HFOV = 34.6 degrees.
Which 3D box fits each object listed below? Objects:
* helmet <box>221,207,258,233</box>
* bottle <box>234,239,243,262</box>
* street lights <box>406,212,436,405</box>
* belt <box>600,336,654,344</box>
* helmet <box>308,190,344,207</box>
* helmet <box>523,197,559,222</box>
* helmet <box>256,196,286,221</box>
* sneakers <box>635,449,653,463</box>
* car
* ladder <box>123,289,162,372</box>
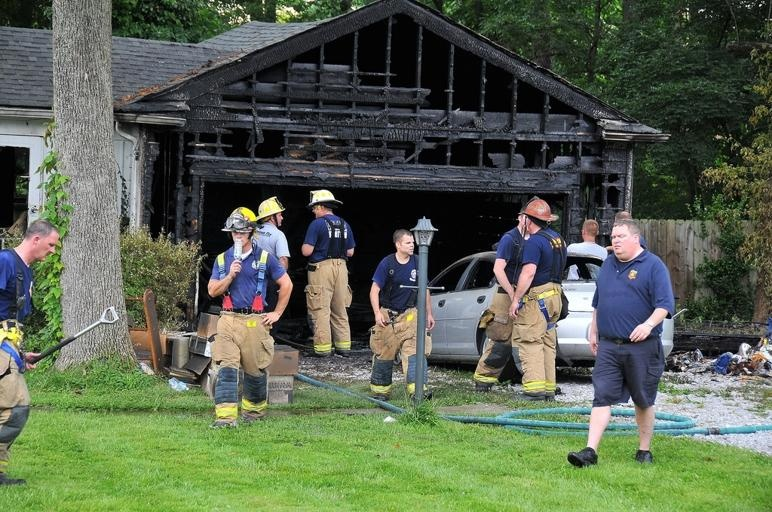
[{"bbox_3d":[-2.115,-0.515,17.995,0.369,0.291,0.487,1,-3,8],"label":"helmet"},{"bbox_3d":[-2.089,-0.069,17.719,0.162,0.286,0.113,3,-1,-37],"label":"bottle"},{"bbox_3d":[0.499,0.819,18.579,0.324,2.578,0.893,3,0,2],"label":"street lights"},{"bbox_3d":[3.288,1.159,16.851,0.731,0.108,0.232,2,0,7],"label":"belt"},{"bbox_3d":[-1.212,-1.018,22.048,0.513,0.232,0.368,-4,1,20],"label":"helmet"},{"bbox_3d":[2.445,-0.695,19.411,0.513,0.282,0.379,12,10,-47],"label":"helmet"},{"bbox_3d":[-1.967,-0.793,20.756,0.598,0.297,0.445,-8,4,-13],"label":"helmet"},{"bbox_3d":[3.485,2.758,16.838,0.136,0.153,0.230,-1,-9,4],"label":"sneakers"},{"bbox_3d":[1.801,0.889,21.671,1.955,1.406,4.280,0,4,-23],"label":"car"},{"bbox_3d":[-3.913,1.217,20.122,0.520,1.338,1.030,3,0,-25],"label":"ladder"}]
